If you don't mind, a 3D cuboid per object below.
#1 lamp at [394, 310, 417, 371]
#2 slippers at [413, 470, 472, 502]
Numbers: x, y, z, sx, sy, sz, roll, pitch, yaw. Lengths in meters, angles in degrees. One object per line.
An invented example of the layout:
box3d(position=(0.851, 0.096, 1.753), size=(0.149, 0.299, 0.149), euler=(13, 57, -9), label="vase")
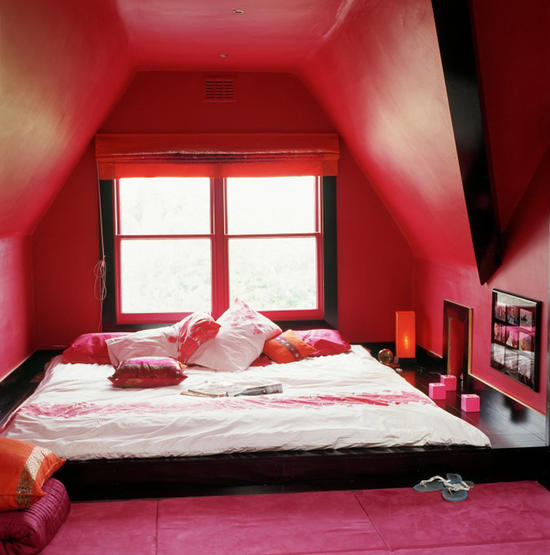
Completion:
box3d(position=(1.029, 0.471, 4.168), size=(0.141, 0.401, 0.095), euler=(-1, 15, -6), label="lamp")
box3d(position=(0.722, 0.891, 2.248), size=(0.208, 0.051, 0.191), euler=(12, 18, 37), label="slippers")
